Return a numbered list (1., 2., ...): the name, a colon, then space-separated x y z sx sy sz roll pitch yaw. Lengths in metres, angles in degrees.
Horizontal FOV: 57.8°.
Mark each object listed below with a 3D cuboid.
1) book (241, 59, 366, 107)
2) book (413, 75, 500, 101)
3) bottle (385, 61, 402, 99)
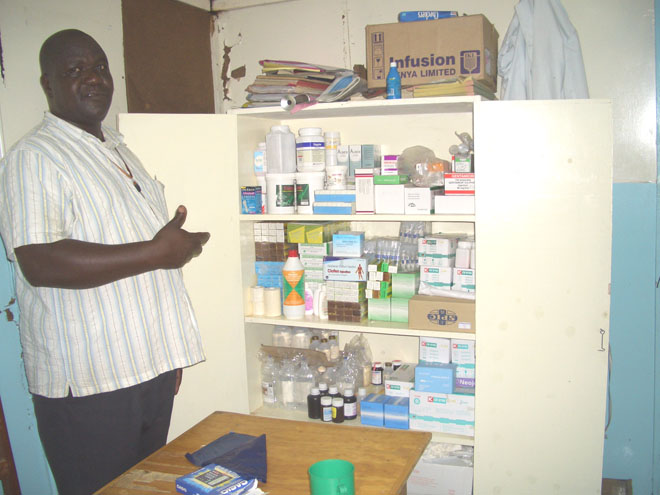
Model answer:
1. book: -0.173 -0.805 2.967 0.354 0.154 0.360 5 8 35
2. book: 0.634 -0.742 2.811 0.516 0.092 0.294 -6 12 -30
3. bottle: 0.301 -0.782 2.805 0.075 0.183 0.142 1 10 4
